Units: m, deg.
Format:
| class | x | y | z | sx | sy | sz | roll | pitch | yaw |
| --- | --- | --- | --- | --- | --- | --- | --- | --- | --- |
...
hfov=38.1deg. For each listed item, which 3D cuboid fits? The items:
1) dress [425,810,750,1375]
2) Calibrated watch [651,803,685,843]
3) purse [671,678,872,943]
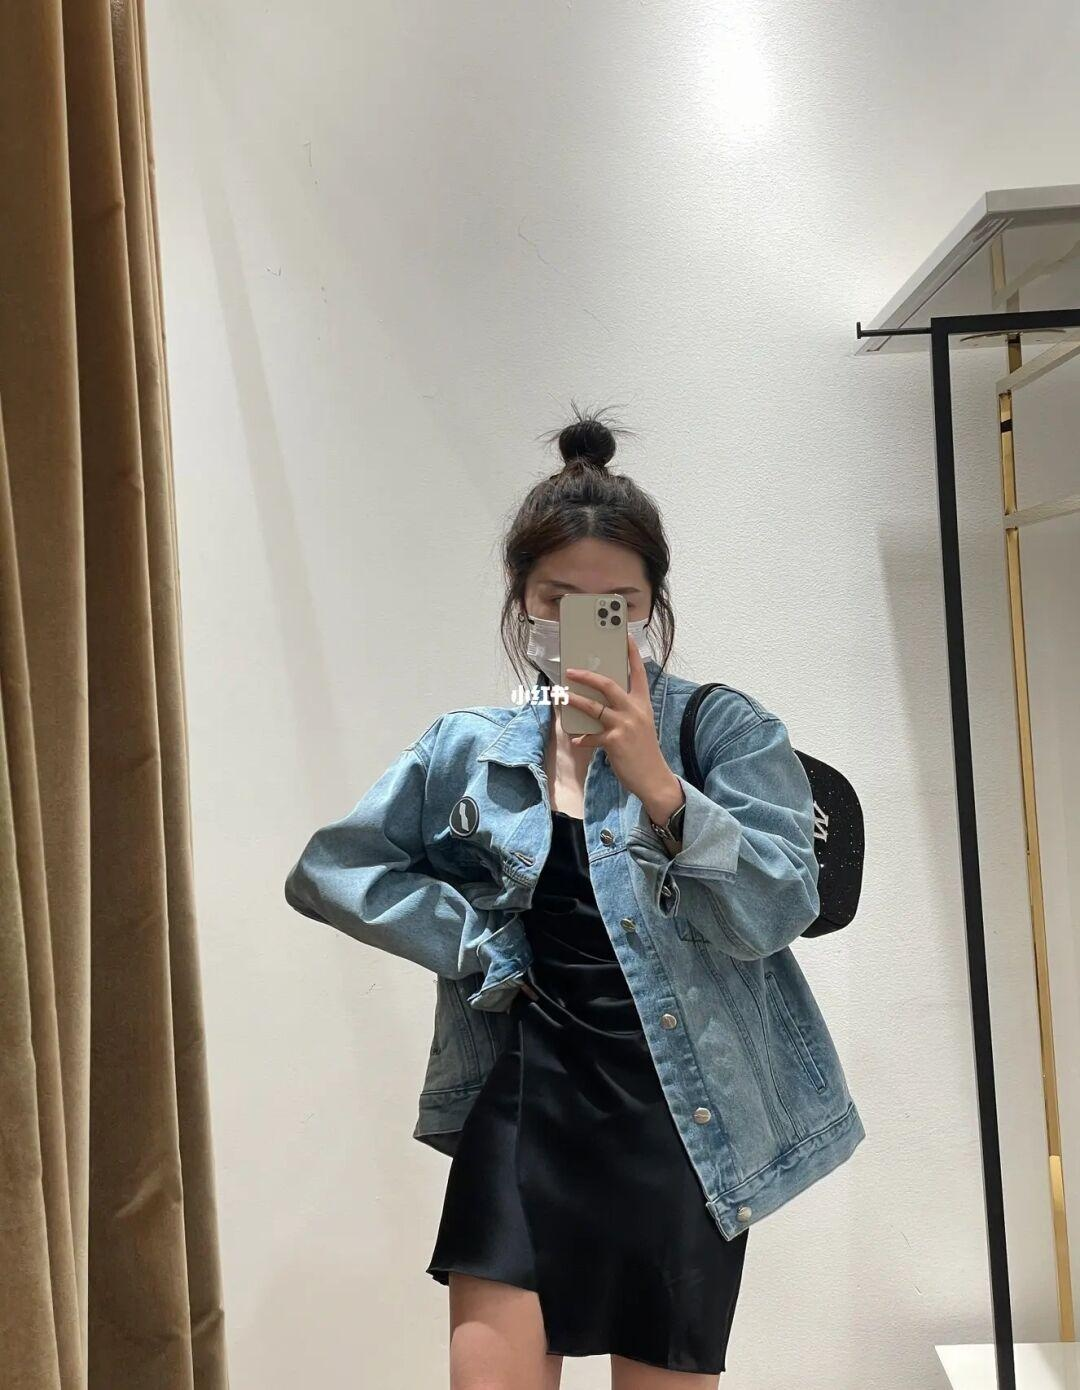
| class | x | y | z | sx | sy | sz | roll | pitch | yaw |
| --- | --- | --- | --- | --- | --- | --- | --- | --- | --- |
| dress | 0.026 | 0.445 | 1.759 | 0.347 | 0.594 | 0.222 | -7 | -30 | 2 |
| Calibrated watch | 0.144 | 0.141 | 1.694 | 0.024 | 0.031 | 0.053 | 9 | -31 | -25 |
| purse | 0.363 | 0.155 | 2.227 | 0.096 | 0.363 | 0.292 | -28 | -19 | 34 |
